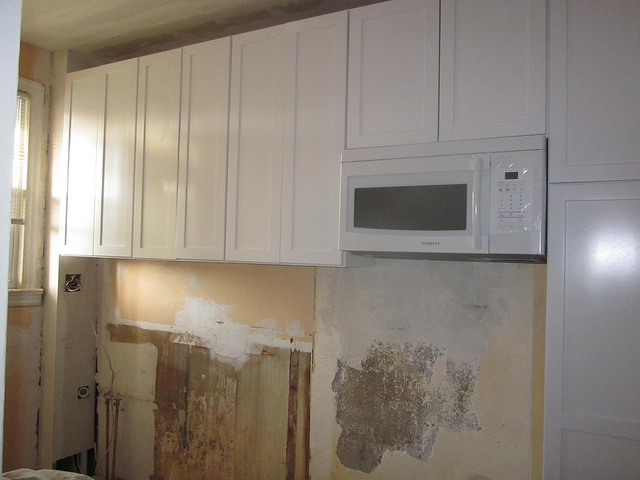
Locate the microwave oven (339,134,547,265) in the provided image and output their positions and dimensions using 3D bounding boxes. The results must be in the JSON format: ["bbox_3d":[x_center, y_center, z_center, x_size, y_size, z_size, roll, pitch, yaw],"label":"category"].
[{"bbox_3d":[0.533,-0.109,2.421,0.859,0.512,0.584,2,-14,14],"label":"microwave oven"}]
